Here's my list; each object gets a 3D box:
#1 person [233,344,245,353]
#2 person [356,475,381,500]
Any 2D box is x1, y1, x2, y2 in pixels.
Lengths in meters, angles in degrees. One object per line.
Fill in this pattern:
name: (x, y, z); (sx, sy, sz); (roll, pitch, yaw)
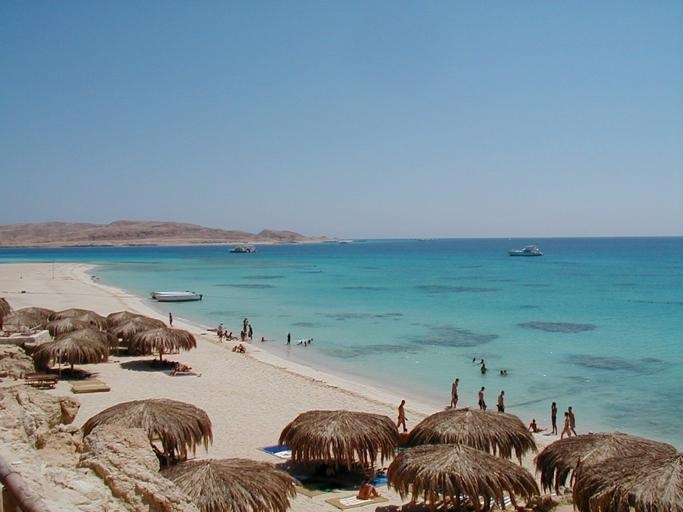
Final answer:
person: (-6.348, 5.717, 36.325); (0.422, 0.455, 1.050); (3, 2, -15)
person: (0.617, 6.449, 16.270); (0.521, 0.608, 0.528); (-6, 15, -37)
